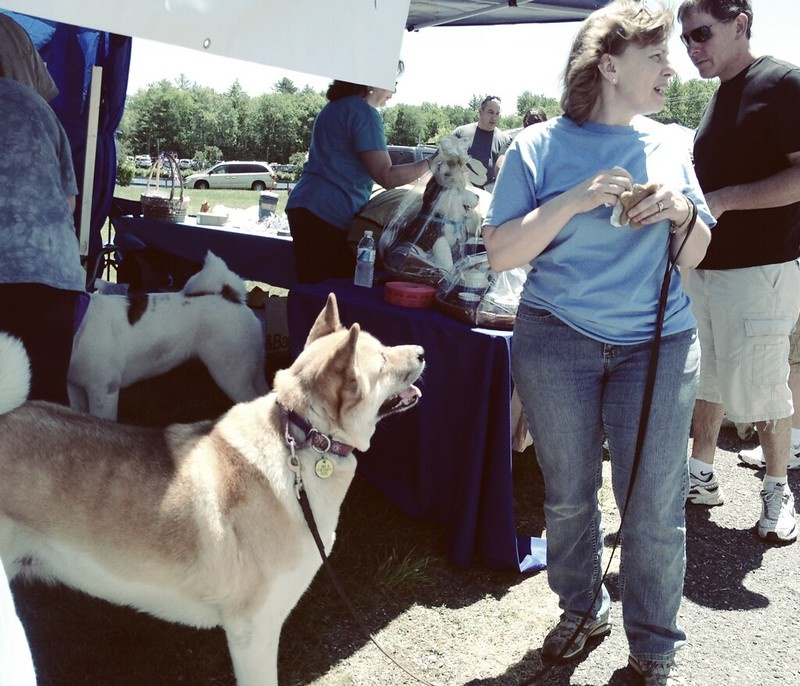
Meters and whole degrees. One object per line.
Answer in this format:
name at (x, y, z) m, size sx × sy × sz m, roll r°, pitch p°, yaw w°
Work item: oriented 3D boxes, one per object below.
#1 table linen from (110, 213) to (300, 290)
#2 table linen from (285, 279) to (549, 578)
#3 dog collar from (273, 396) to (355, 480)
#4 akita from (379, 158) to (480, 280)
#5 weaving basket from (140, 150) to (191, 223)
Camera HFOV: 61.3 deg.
table linen at (-1.884, -0.744, 6.060) m, size 1.598 × 0.264 × 1.639 m, roll -2°, pitch -10°, yaw 34°
table linen at (0.195, 0.625, 3.894) m, size 1.062 × 1.093 × 1.533 m, roll 0°, pitch -12°, yaw 17°
dog collar at (-0.310, 0.345, 2.355) m, size 0.266 × 0.182 × 0.199 m, roll 40°, pitch -1°, yaw -20°
akita at (0.190, -0.677, 3.696) m, size 0.516 × 0.714 × 0.493 m, roll -5°, pitch 17°, yaw -26°
weaving basket at (-2.105, -1.402, 6.052) m, size 0.463 × 0.465 × 0.323 m, roll 4°, pitch 19°, yaw -20°
